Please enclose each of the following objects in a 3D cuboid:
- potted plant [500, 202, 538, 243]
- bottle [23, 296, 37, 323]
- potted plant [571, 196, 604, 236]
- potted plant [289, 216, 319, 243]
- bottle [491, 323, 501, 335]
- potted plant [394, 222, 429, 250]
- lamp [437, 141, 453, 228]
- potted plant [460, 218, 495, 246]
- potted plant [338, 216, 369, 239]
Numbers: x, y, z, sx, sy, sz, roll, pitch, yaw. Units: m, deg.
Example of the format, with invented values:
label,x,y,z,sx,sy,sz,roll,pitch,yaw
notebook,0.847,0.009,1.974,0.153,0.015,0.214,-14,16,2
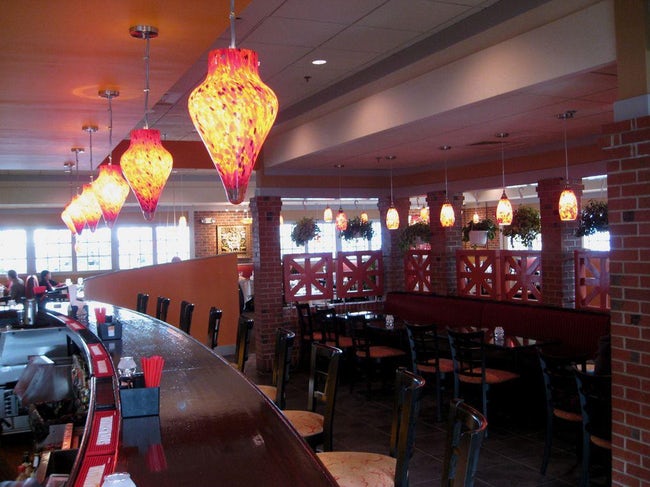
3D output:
label,x,y,z,sx,sy,sz,roll,pitch,yaw
potted plant,4.268,-0.442,10.853,0.853,1.092,0.975,3,8,10
bottle,-2.288,0.512,3.850,0.089,0.183,0.288,-2,-2,-32
potted plant,3.912,-0.417,7.288,0.497,0.377,0.531,2,5,38
potted plant,-0.562,-0.350,13.279,0.673,0.696,0.684,-3,-1,-16
bottle,2.200,1.099,6.354,0.123,0.159,0.137,0,-8,3
potted plant,1.718,-0.145,10.431,0.662,0.687,0.643,-8,12,-41
lamp,1.899,-0.881,7.980,0.260,1.108,1.719,-3,-2,14
potted plant,2.875,-0.250,9.308,0.588,0.505,0.607,1,-5,-5
potted plant,0.756,-0.380,12.228,0.567,0.370,0.589,-3,1,2
